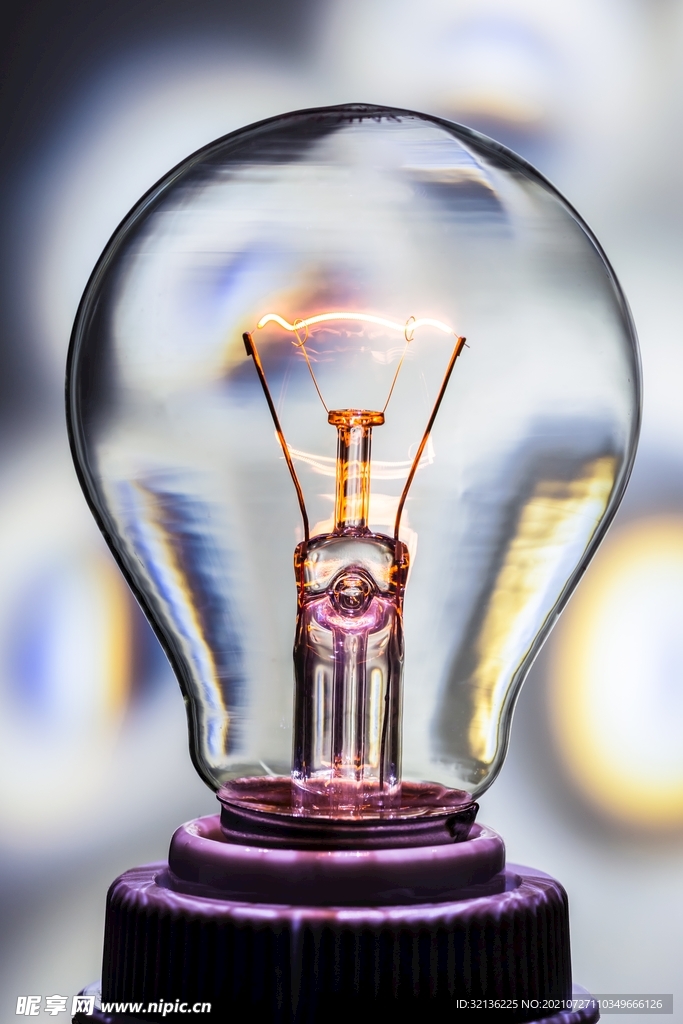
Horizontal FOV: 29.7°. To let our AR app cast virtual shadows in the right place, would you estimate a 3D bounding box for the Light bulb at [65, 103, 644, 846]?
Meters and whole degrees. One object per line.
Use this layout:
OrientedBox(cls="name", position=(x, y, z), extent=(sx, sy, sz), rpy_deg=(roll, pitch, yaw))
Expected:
OrientedBox(cls="Light bulb", position=(0.011, 0.008, 0.688), extent=(0.289, 0.349, 0.296), rpy_deg=(-5, -15, 21))
